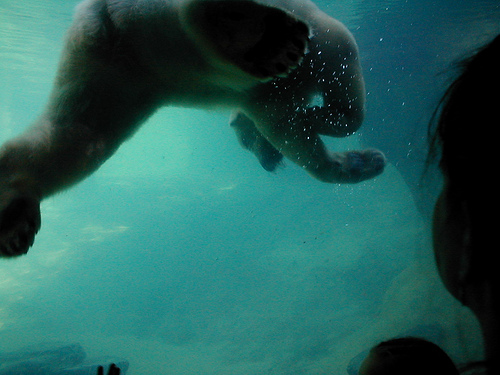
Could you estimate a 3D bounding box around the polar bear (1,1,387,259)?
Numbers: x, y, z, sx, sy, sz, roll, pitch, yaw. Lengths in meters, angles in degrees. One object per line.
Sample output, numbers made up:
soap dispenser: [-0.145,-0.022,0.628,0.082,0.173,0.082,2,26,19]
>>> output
polar bear: [-0.143,-0.495,3.489,2.239,1.155,1.127,-2,7,-14]

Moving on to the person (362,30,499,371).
person: [1.099,0.056,3.571,0.624,1.924,1.001,7,7,16]
